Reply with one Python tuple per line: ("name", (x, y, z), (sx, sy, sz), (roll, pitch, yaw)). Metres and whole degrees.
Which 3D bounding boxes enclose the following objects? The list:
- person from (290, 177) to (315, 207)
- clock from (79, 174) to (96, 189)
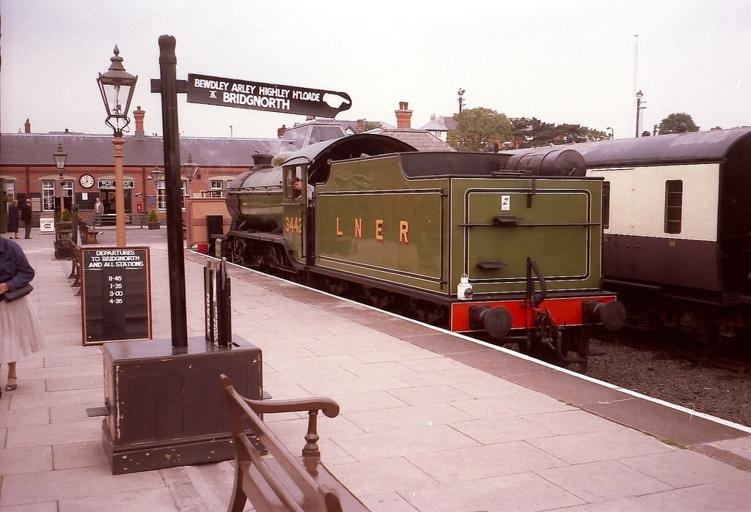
("person", (-1.771, -1.623, 14.932), (0.182, 0.739, 0.762), (-7, 6, -38))
("clock", (-28.494, -7.380, 58.715), (1.315, 1.352, 0.220), (-8, 0, -28))
